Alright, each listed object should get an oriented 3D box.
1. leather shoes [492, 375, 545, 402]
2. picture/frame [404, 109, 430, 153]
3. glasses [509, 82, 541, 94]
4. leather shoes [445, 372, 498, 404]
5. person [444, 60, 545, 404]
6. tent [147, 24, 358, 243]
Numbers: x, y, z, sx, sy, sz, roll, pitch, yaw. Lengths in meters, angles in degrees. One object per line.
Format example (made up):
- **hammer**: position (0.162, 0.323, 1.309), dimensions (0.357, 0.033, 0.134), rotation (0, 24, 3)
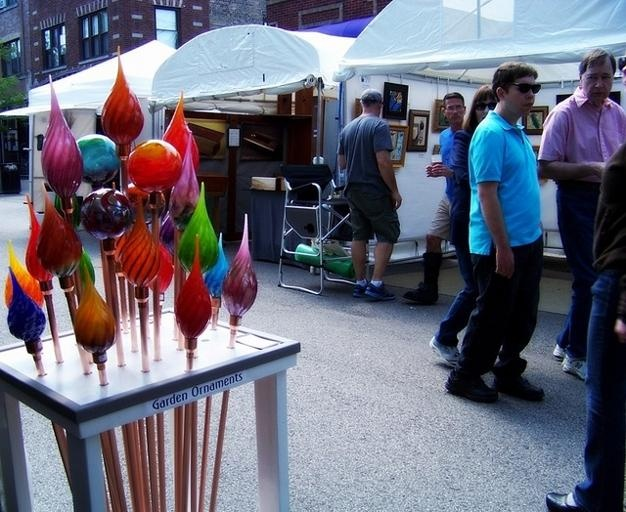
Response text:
- **leather shoes**: position (1.381, 0.892, 3.446), dimensions (0.355, 0.171, 0.139), rotation (4, 10, 31)
- **picture/frame**: position (1.477, -1.806, 7.383), dimensions (0.041, 0.629, 0.582), rotation (6, 12, 32)
- **glasses**: position (1.235, -0.955, 2.962), dimensions (0.182, 0.058, 0.065), rotation (-5, 12, -31)
- **leather shoes**: position (1.055, 0.847, 3.403), dimensions (0.308, 0.201, 0.150), rotation (6, 11, 28)
- **person**: position (1.193, -0.063, 3.140), dimensions (0.516, 2.114, 0.449), rotation (0, 9, -2)
- **tent**: position (-0.636, -1.599, 6.590), dimensions (2.098, 2.772, 3.015), rotation (-9, 15, -29)
